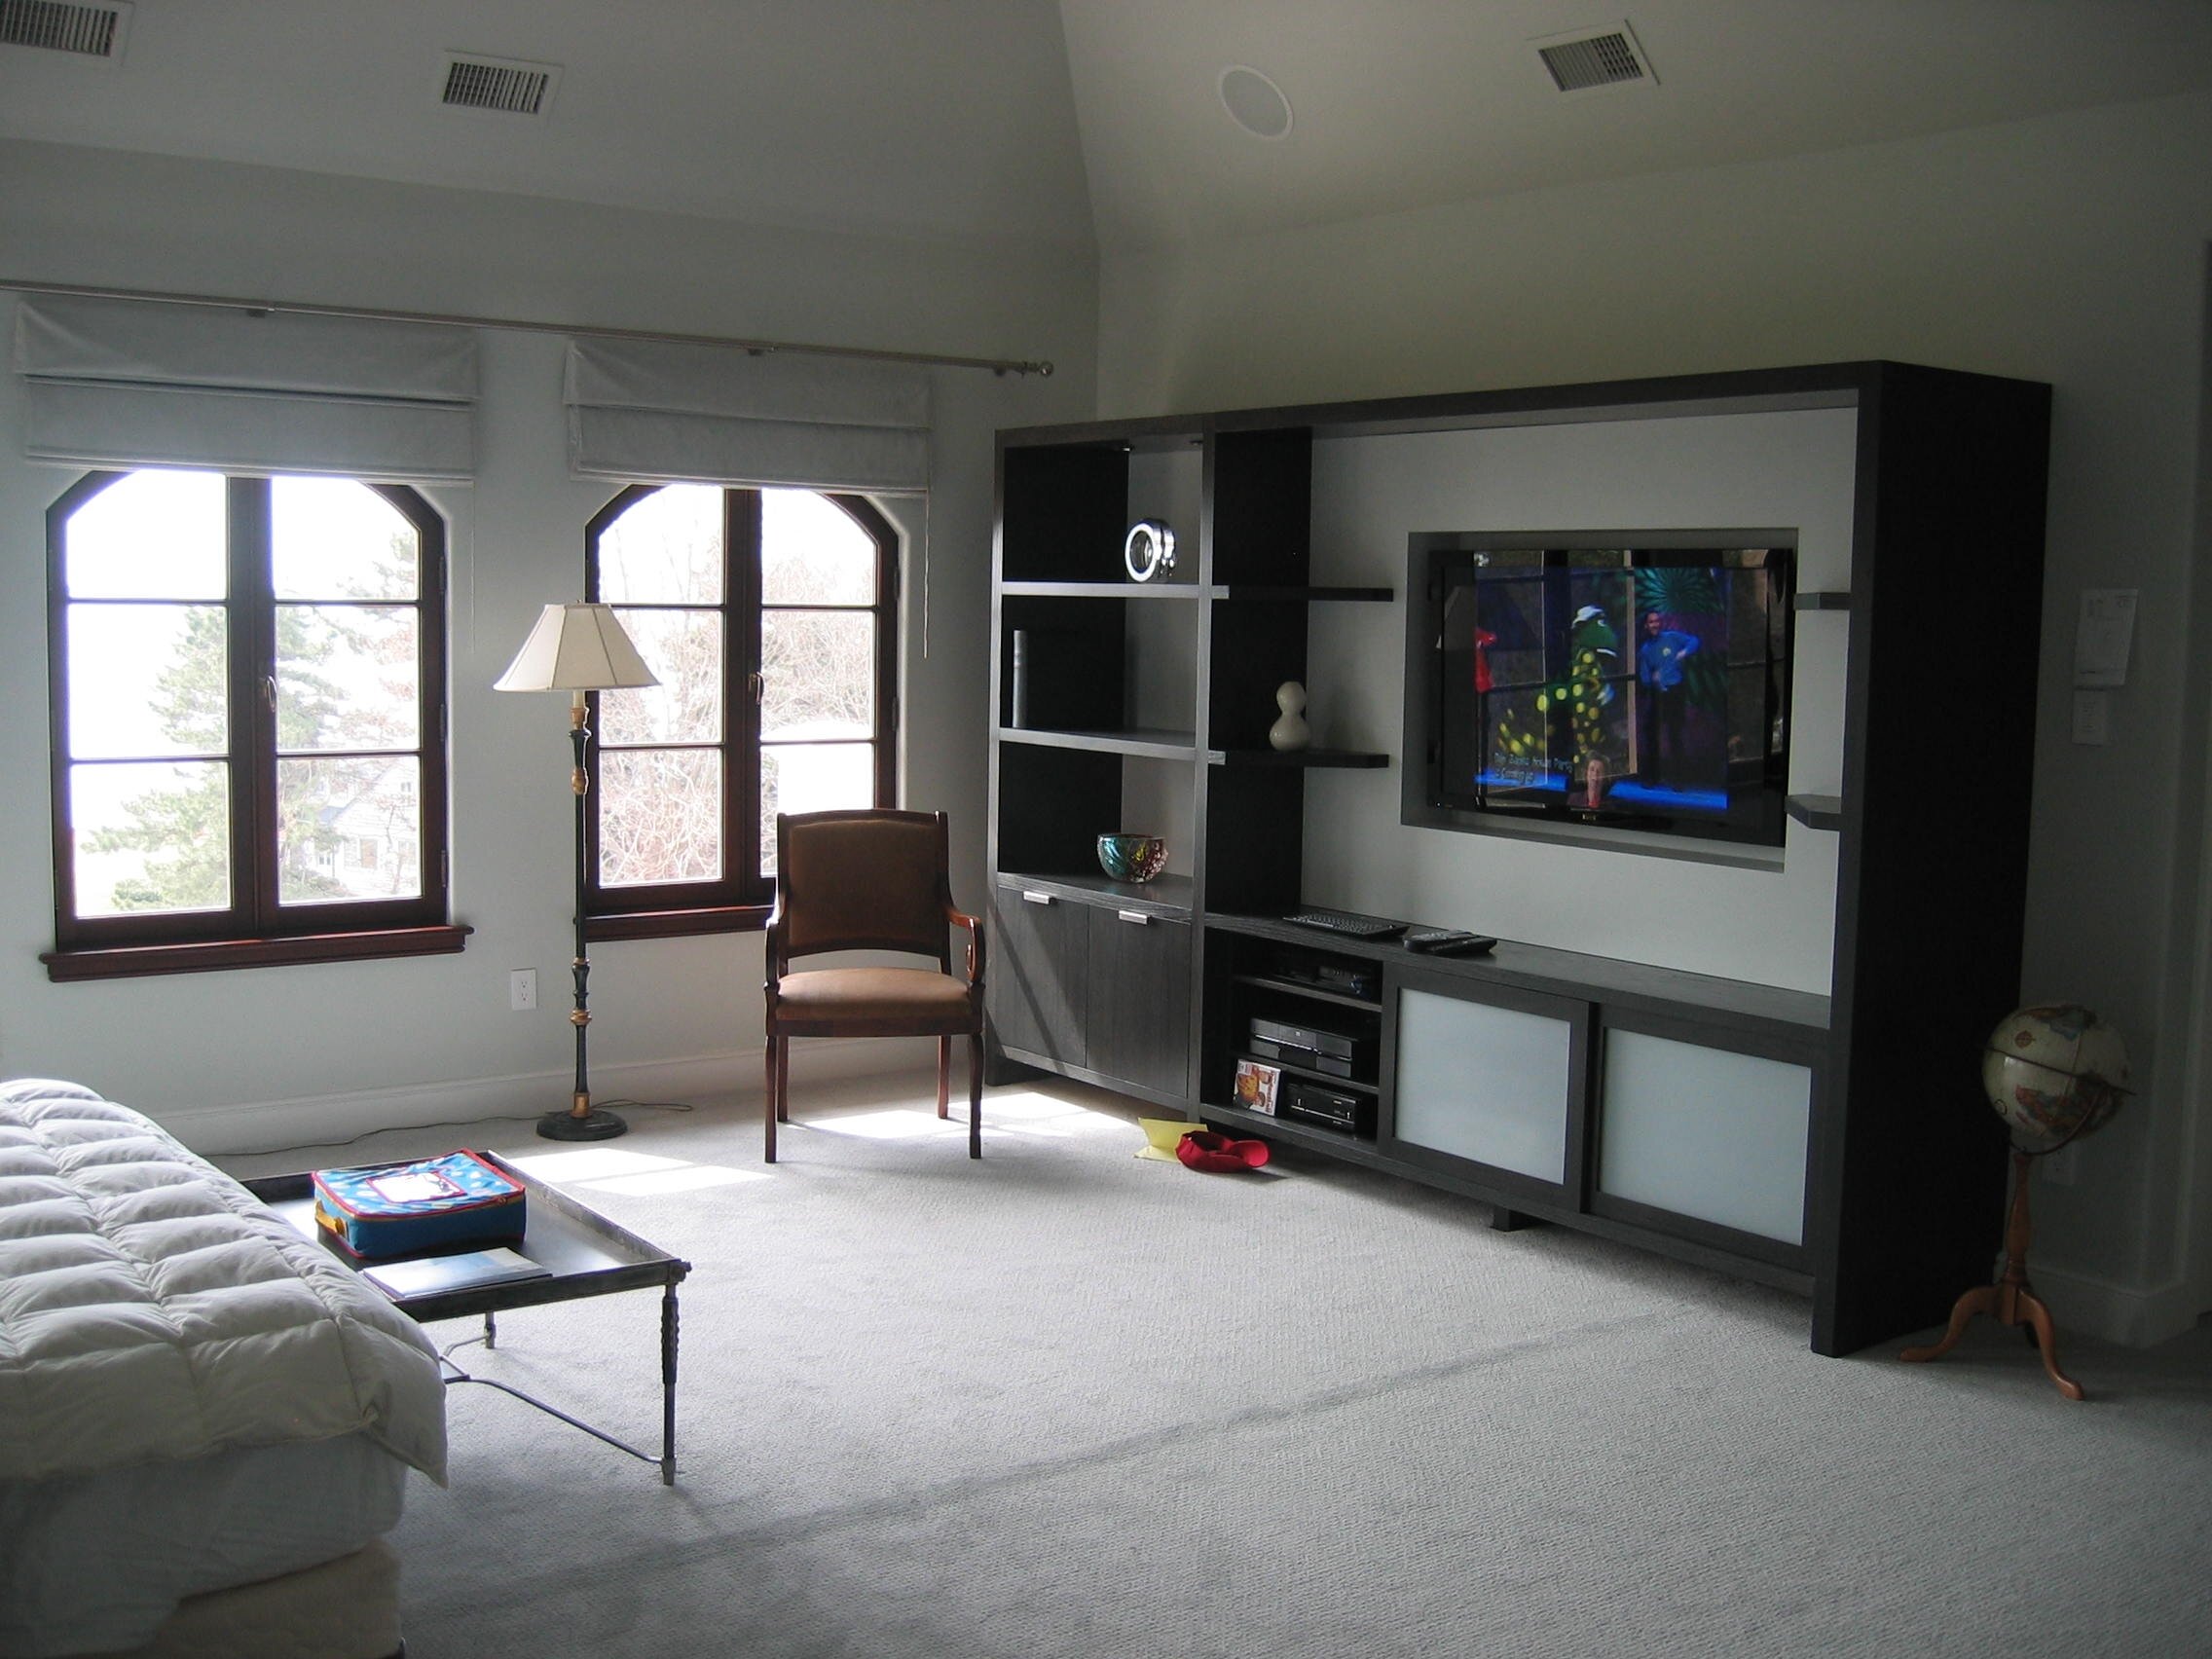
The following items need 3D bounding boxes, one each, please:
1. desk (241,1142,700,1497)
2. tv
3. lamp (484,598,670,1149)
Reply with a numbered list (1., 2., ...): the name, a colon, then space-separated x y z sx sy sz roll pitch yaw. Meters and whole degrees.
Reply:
1. desk: -1.259 0.962 3.615 0.913 0.606 1.032 2 5 -36
2. tv: 1.448 -0.404 4.820 0.076 0.870 1.124 -4 7 -44
3. lamp: -1.760 0.154 5.548 0.525 1.762 0.505 -2 6 -35
